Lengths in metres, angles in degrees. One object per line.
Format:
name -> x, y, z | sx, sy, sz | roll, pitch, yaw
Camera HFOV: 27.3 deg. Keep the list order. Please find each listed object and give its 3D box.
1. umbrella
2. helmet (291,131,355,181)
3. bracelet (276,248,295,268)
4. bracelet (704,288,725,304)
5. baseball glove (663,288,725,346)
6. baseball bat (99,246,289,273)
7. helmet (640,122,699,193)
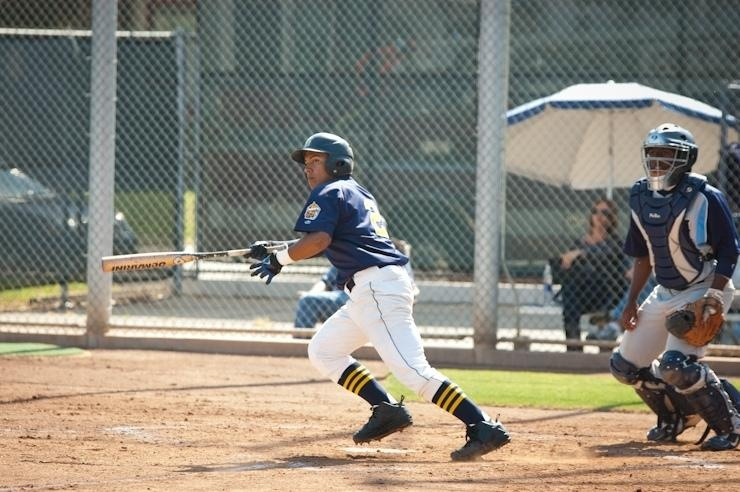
umbrella -> 2.526, -1.330, 17.071 | 1.753, 0.743, 1.639 | 17, -18, -25
helmet -> -0.407, -0.848, 14.704 | 0.589, 0.414, 0.444 | 6, -13, -26
bracelet -> -0.801, 0.119, 14.470 | 0.153, 0.167, 0.171 | -38, -25, -8
bracelet -> 3.299, 0.472, 14.538 | 0.131, 0.082, 0.168 | 7, -6, 34
baseball glove -> 3.146, 0.672, 14.742 | 0.451, 0.574, 0.145 | 34, 6, -13
baseball bat -> -1.949, 0.133, 16.503 | 1.510, 0.142, 0.186 | -5, -21, -11
helmet -> 2.989, -0.884, 14.855 | 0.587, 0.610, 0.491 | -4, 8, -36
